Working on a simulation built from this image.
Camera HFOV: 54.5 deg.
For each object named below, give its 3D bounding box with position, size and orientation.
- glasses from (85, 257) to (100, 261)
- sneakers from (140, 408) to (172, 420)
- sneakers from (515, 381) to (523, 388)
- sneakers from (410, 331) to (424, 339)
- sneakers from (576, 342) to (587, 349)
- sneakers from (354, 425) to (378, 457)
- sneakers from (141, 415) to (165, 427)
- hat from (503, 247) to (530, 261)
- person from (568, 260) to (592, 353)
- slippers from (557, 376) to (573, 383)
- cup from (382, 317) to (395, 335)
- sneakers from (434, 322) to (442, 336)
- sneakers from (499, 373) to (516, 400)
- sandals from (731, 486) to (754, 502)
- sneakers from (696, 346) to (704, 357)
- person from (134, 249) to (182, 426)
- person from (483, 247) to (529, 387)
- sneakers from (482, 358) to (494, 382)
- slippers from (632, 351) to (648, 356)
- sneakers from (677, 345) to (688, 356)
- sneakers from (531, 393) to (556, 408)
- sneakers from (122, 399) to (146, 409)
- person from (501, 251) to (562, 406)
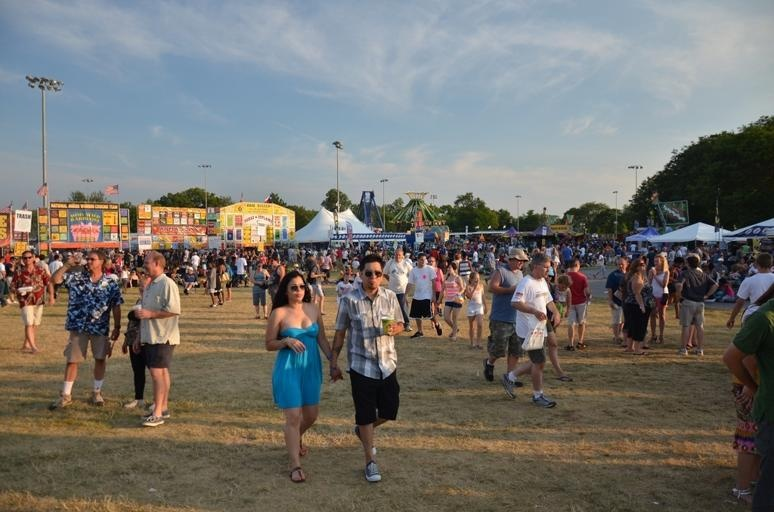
[{"bbox_3d":[-5.785,0.042,14.804,0.239,0.109,0.185,0,2,-1],"label":"glasses"},{"bbox_3d":[-4.460,3.060,14.585,0.223,0.266,0.618,-4,-17,5],"label":"sneakers"},{"bbox_3d":[2.825,2.716,16.167,0.150,0.092,0.086,13,11,40],"label":"sneakers"},{"bbox_3d":[0.822,2.111,20.419,0.302,0.133,0.142,-2,-9,0],"label":"sneakers"},{"bbox_3d":[4.953,2.255,19.169,0.341,0.148,0.124,5,-4,-44],"label":"sneakers"},{"bbox_3d":[-0.391,3.212,13.210,0.211,0.645,0.282,-26,-16,-3],"label":"sneakers"},{"bbox_3d":[-4.460,3.110,14.377,0.424,0.175,0.179,10,-16,-33],"label":"sneakers"},{"bbox_3d":[2.680,-0.060,15.863,0.427,0.213,0.339,5,5,27],"label":"hat"},{"bbox_3d":[4.717,1.178,18.944,0.740,2.177,0.657,0,5,3],"label":"person"},{"bbox_3d":[3.873,2.646,16.402,0.234,0.085,0.134,0,-1,2],"label":"slippers"},{"bbox_3d":[0.027,1.179,12.848,0.242,0.191,0.245,1,-5,0],"label":"cup"},{"bbox_3d":[1.392,1.981,20.411,0.167,0.445,0.162,-13,31,3],"label":"sneakers"},{"bbox_3d":[2.474,2.623,15.500,0.275,0.621,0.207,-12,16,13],"label":"sneakers"},{"bbox_3d":[5.925,3.944,12.585,0.335,0.146,0.163,-4,-6,41],"label":"sandals"},{"bbox_3d":[7.595,2.323,18.320,0.118,0.155,0.356,-10,-20,24],"label":"sneakers"},{"bbox_3d":[-4.410,1.541,14.460,0.823,3.310,0.640,-1,1,-19],"label":"person"},{"bbox_3d":[2.566,1.232,15.820,0.937,2.796,1.161,3,-3,-29],"label":"person"},{"bbox_3d":[2.193,2.408,16.130,0.188,0.519,0.215,-7,-5,-46],"label":"sneakers"},{"bbox_3d":[6.108,2.312,18.223,0.302,0.112,0.121,-2,-1,-4],"label":"slippers"},{"bbox_3d":[7.212,2.267,18.354,0.141,0.166,0.359,0,1,12],"label":"sneakers"},{"bbox_3d":[3.118,2.866,15.116,0.550,0.258,0.208,1,0,10],"label":"sneakers"},{"bbox_3d":[-5.061,2.928,15.077,0.413,0.181,0.155,3,-2,-3],"label":"sneakers"},{"bbox_3d":[2.915,1.461,15.161,0.958,3.053,0.958,0,1,13],"label":"person"}]
